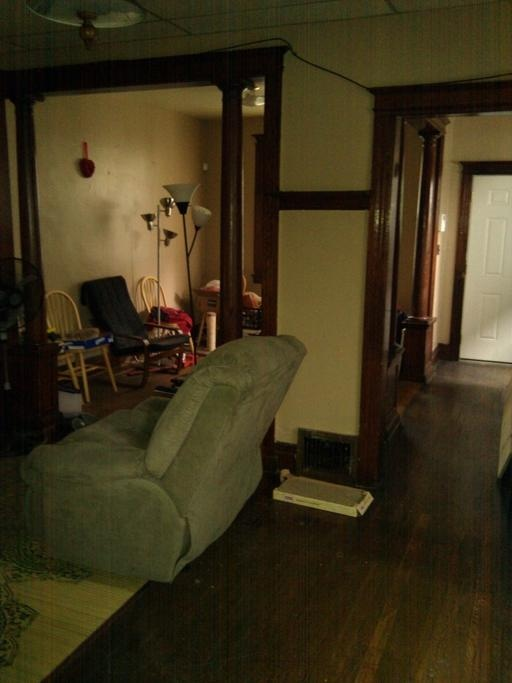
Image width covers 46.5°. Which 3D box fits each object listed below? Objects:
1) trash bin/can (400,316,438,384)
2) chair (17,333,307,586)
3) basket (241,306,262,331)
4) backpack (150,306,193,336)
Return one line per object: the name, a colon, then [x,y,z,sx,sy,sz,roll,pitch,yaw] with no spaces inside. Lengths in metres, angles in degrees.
trash bin/can: [1.519,0.048,5.576,0.270,0.582,0.500,5,10,17]
chair: [-0.334,0.407,2.519,0.954,0.781,0.997,2,5,24]
basket: [-0.058,-0.163,4.393,0.191,0.182,0.140,1,0,37]
backpack: [-0.843,-0.235,6.218,0.306,0.180,0.390,1,5,-21]
